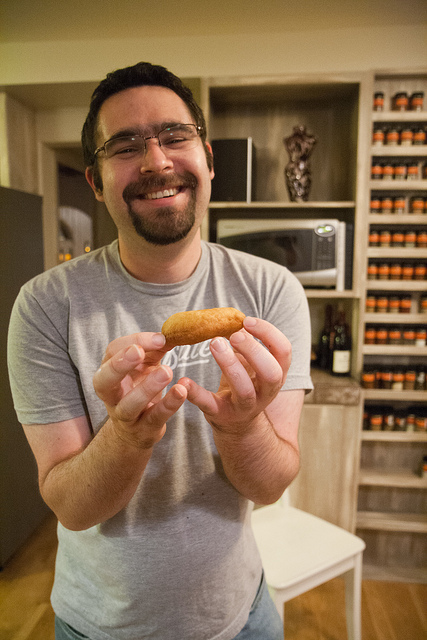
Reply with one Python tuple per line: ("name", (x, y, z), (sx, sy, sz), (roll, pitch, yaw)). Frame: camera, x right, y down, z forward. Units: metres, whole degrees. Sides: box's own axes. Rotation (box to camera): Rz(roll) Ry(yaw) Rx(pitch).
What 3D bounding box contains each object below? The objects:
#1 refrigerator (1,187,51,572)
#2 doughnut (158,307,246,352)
("refrigerator", (-0.975, 0.263, 2.567), (0.278, 1.755, 0.733), (0, 4, -18))
("doughnut", (-0.016, 0.007, 0.805), (0.134, 0.048, 0.065), (-10, 9, -22))
